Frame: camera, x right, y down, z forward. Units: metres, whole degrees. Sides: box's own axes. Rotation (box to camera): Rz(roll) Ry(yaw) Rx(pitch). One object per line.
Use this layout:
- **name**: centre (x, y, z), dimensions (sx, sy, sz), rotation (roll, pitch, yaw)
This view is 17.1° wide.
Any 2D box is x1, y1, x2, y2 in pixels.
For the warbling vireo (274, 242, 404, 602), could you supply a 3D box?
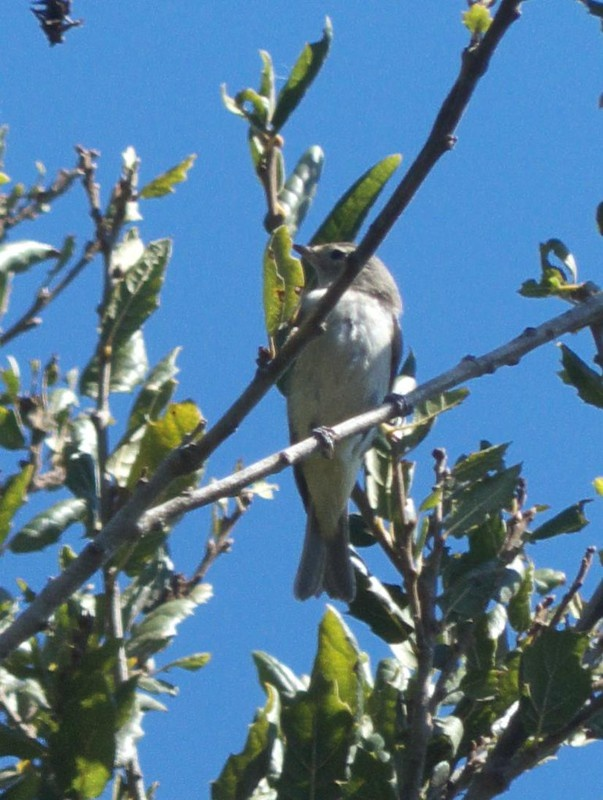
- **warbling vireo**: centre (0.142, 0.012, 7.176), dimensions (0.330, 0.452, 1.449), rotation (-1, -88, 7)
